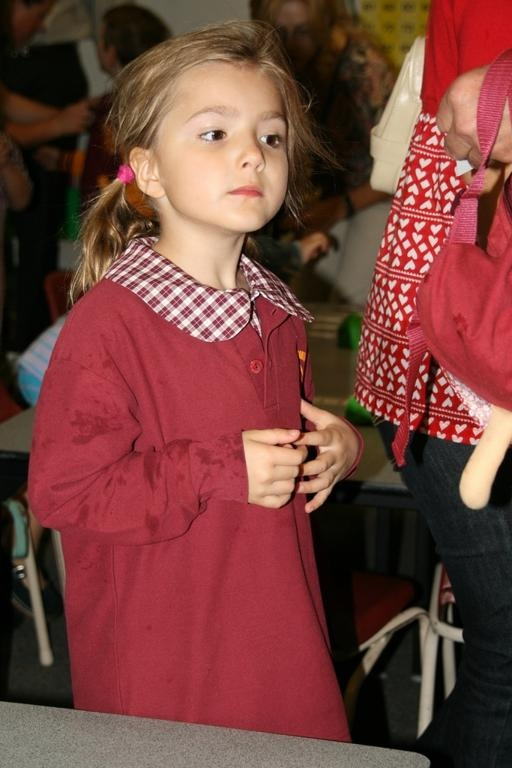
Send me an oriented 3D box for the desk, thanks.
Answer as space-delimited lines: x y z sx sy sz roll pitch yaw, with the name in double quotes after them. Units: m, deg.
-0.147 0.237 1.716 1.140 0.966 0.838 -2 -3 25 "desk"
